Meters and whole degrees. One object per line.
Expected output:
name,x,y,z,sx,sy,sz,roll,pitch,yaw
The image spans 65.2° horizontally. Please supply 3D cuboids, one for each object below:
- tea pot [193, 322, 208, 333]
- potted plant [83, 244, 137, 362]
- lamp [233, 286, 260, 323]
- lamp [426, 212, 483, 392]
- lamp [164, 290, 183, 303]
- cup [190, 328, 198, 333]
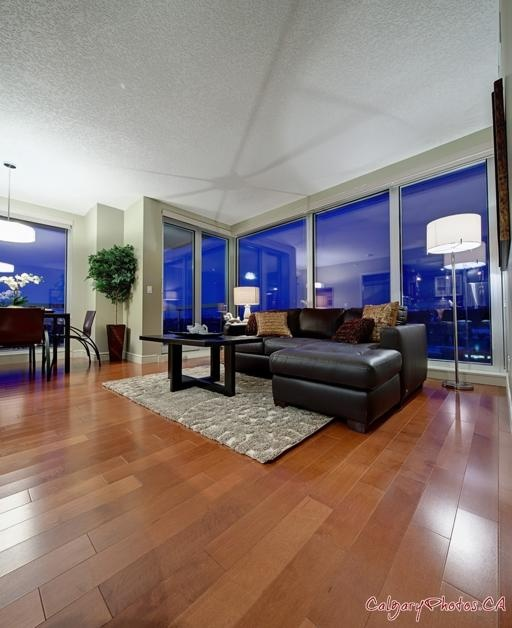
tea pot,-0.463,0.113,3.289,0.080,0.045,0.105,4,6,41
potted plant,-1.787,-0.128,5.133,0.552,1.464,0.526,-9,14,-35
lamp,-0.119,-0.112,5.239,0.399,0.594,0.415,0,-5,-1
lamp,1.593,-0.101,3.255,0.419,1.391,0.625,6,13,29
lamp,-1.158,-0.240,5.513,0.164,0.277,0.162,-9,11,-44
cup,-0.509,0.139,3.225,0.044,0.029,0.033,1,-6,-7
